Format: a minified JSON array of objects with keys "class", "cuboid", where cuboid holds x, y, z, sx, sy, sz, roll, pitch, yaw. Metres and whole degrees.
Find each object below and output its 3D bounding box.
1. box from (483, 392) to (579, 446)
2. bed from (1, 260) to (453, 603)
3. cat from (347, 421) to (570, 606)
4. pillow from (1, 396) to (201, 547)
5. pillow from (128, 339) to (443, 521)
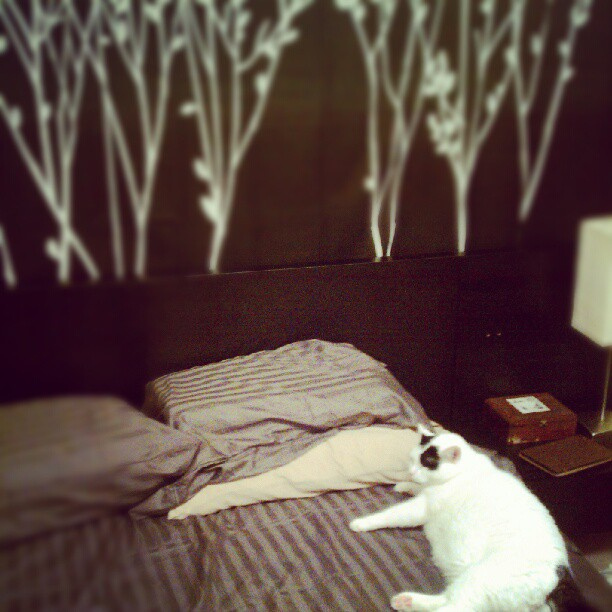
[{"class":"box","cuboid":[0.955,0.472,2.667,0.415,0.154,0.244,-4,18,-7]},{"class":"bed","cuboid":[-0.212,0.264,1.916,1.415,0.661,1.079,-4,18,-7]},{"class":"cat","cuboid":[0.396,0.625,1.683,0.358,0.196,0.460,-11,38,-32]},{"class":"pillow","cuboid":[-0.631,0.380,1.761,0.350,0.109,0.377,-8,23,-26]},{"class":"pillow","cuboid":[-0.102,0.339,2.090,0.627,0.175,0.571,-11,12,-15]}]
